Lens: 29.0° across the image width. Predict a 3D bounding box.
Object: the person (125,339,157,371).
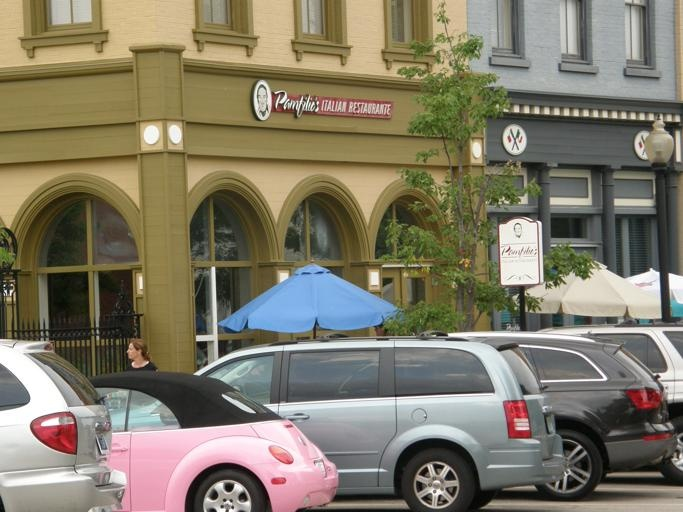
[{"bbox_3d":[-3.120,1.596,20.436,0.414,0.627,0.728,1,-1,-29],"label":"person"}]
